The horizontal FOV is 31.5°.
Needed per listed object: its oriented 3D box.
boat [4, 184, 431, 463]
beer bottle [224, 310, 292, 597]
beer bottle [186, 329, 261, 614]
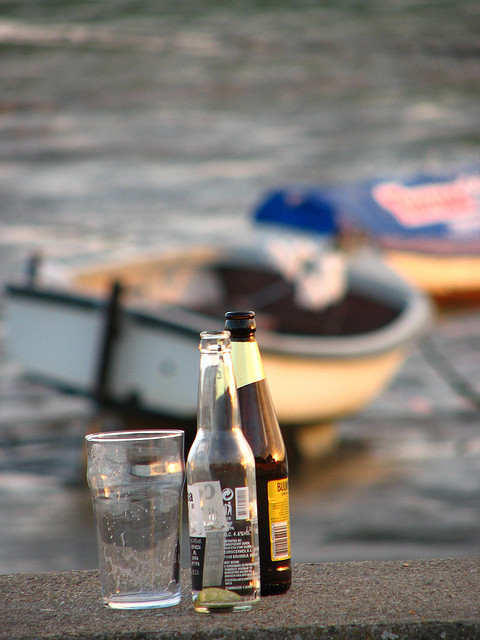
[{"bbox_3d":[0.008,-0.038,1.357,0.442,0.650,0.196,13,109,29],"label":"boat"},{"bbox_3d":[-0.011,0.150,0.932,0.114,0.099,0.308,0,92,20],"label":"beer bottle"},{"bbox_3d":[-0.010,0.161,0.890,0.081,0.073,0.262,-7,79,41],"label":"beer bottle"}]
